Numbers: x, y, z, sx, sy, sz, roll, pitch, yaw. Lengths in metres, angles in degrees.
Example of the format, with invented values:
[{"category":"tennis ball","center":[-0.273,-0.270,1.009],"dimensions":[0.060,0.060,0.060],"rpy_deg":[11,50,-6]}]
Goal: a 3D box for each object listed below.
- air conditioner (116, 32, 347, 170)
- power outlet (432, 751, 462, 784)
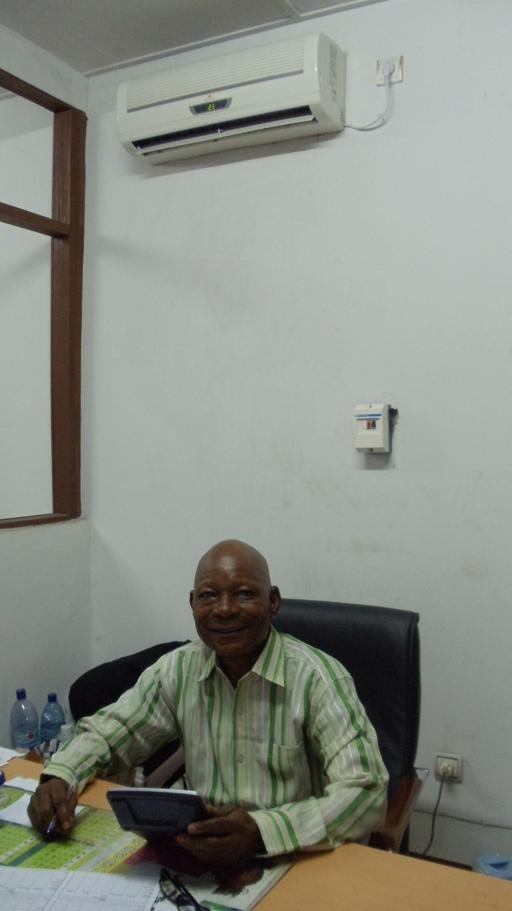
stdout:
[{"category":"air conditioner","center":[-0.101,-1.179,2.411],"dimensions":[0.794,0.275,0.220],"rpy_deg":[5,4,30]},{"category":"power outlet","center":[0.582,0.948,2.186],"dimensions":[0.098,0.112,0.057],"rpy_deg":[0,-1,29]}]
